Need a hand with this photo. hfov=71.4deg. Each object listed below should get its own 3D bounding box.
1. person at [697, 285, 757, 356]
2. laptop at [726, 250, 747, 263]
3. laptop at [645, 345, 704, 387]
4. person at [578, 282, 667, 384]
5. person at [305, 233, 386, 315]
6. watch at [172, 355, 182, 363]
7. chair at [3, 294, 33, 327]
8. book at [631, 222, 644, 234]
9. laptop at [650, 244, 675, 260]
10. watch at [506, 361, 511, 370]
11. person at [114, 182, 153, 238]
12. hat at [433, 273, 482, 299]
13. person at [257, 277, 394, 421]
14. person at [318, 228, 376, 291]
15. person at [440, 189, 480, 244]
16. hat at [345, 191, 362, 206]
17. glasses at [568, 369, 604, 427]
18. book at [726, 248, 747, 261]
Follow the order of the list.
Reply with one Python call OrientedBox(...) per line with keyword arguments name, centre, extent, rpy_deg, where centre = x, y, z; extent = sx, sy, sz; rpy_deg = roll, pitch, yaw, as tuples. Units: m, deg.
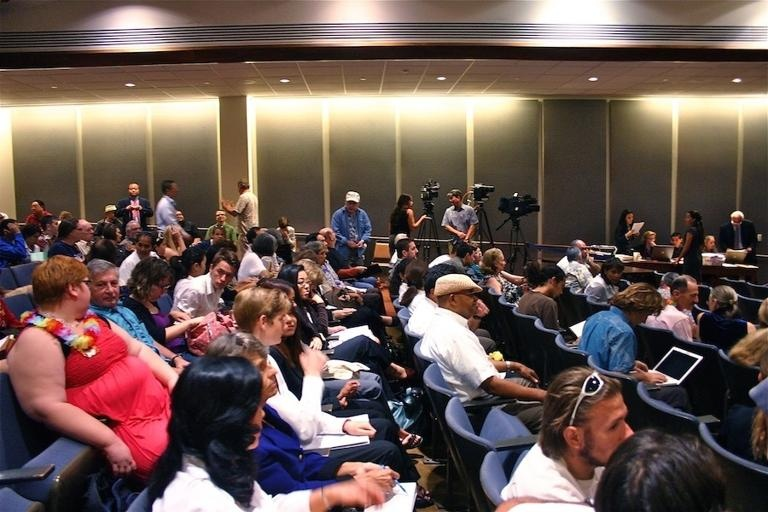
OrientedBox(name="person", centre=(3.066, 0.574, 4.781), extent=(0.336, 0.720, 0.402), rpy_deg=(8, 32, 22))
OrientedBox(name="laptop", centre=(6.401, -0.026, 9.706), extent=(0.335, 0.219, 0.237), rpy_deg=(2, 16, 18))
OrientedBox(name="laptop", centre=(2.208, 0.820, 4.030), extent=(0.297, 0.191, 0.318), rpy_deg=(7, 12, -8))
OrientedBox(name="person", centre=(1.874, 0.608, 4.132), extent=(0.450, 0.798, 0.538), rpy_deg=(1, 20, -15))
OrientedBox(name="person", centre=(-0.460, 0.320, 7.371), extent=(0.824, 1.289, 0.554), rpy_deg=(-18, 1, -14))
OrientedBox(name="watch", centre=(-1.534, 0.755, 3.939), extent=(0.050, 0.014, 0.052), rpy_deg=(-37, -17, -21))
OrientedBox(name="chair", centre=(-2.875, 0.422, 4.164), extent=(0.194, 0.260, 0.196), rpy_deg=(3, 7, 1))
OrientedBox(name="book", centre=(5.195, -0.586, 10.958), extent=(0.265, 0.179, 0.188), rpy_deg=(1, 28, -35))
OrientedBox(name="laptop", centre=(5.007, -0.077, 9.577), extent=(0.364, 0.246, 0.262), rpy_deg=(0, 11, 22))
OrientedBox(name="watch", centre=(0.997, 0.879, 4.279), extent=(0.053, 0.079, 0.081), rpy_deg=(3, -18, 11))
OrientedBox(name="person", centre=(-4.737, -0.578, 10.181), extent=(0.571, 1.507, 0.537), rpy_deg=(-4, 7, -21))
OrientedBox(name="hat", centre=(0.503, 0.205, 3.798), extent=(0.257, 0.101, 0.170), rpy_deg=(-4, 0, -8))
OrientedBox(name="person", centre=(-0.292, 0.656, 4.624), extent=(1.053, 1.223, 0.417), rpy_deg=(-13, 12, -3))
OrientedBox(name="person", centre=(-0.601, 0.091, 7.907), extent=(0.911, 1.105, 0.858), rpy_deg=(-8, 9, -6))
OrientedBox(name="person", centre=(1.394, -0.772, 9.841), extent=(0.607, 0.882, 0.807), rpy_deg=(2, 6, 12))
OrientedBox(name="hat", centre=(-0.566, -1.057, 9.688), extent=(0.300, 0.150, 0.460), rpy_deg=(12, 8, -5))
OrientedBox(name="glasses", centre=(0.858, 0.602, 2.256), extent=(0.055, 0.181, 0.183), rpy_deg=(33, 23, -1))
OrientedBox(name="book", centre=(6.390, -0.039, 9.686), extent=(0.300, 0.194, 0.210), rpy_deg=(3, 20, 16))
